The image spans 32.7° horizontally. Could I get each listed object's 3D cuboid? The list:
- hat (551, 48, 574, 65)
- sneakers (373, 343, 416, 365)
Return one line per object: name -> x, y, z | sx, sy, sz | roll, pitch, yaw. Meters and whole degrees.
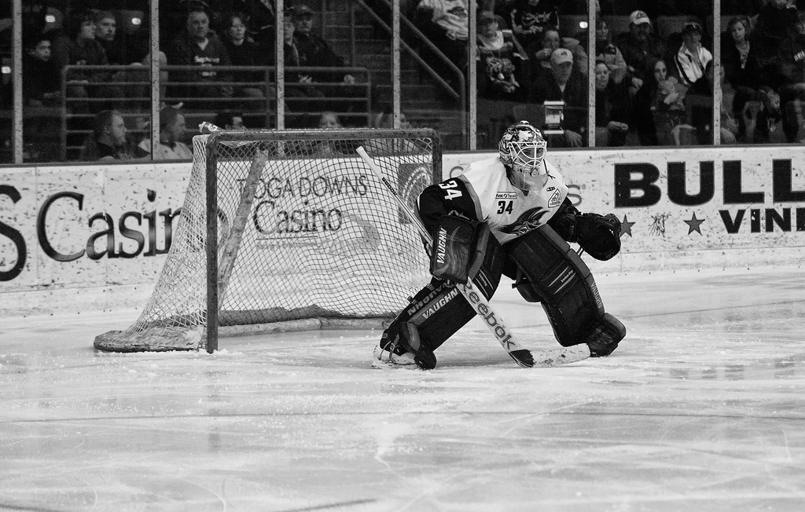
hat -> 1.563, -1.942, 13.458 | 0.157, 0.096, 0.190 | -2, 8, -5
sneakers -> -0.061, 0.722, 9.803 | 0.198, 0.072, 0.185 | 4, 5, 7
